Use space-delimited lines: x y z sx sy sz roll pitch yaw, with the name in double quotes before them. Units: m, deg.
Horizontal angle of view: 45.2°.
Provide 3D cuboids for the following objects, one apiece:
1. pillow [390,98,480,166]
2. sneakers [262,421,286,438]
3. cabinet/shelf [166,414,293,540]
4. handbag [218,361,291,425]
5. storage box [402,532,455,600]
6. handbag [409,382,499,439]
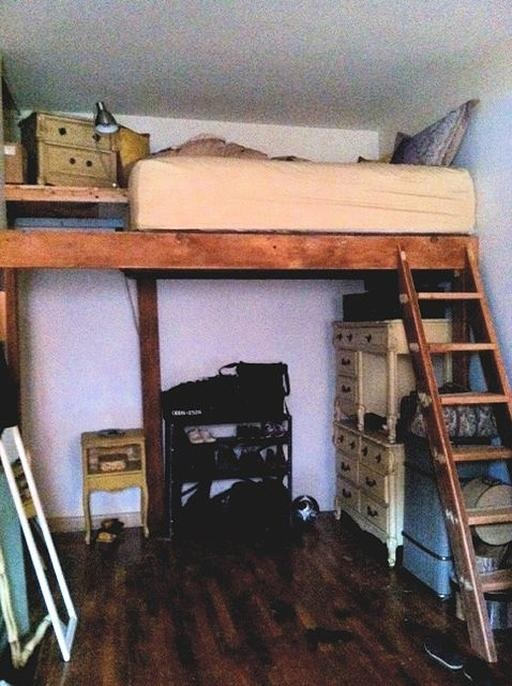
"pillow" 1.002 -1.123 3.443 0.308 0.337 0.591 -2 7 -6
"sneakers" 0.092 0.579 4.066 0.200 0.080 0.064 0 2 -5
"cabinet/shelf" -0.180 0.884 3.966 0.811 0.728 0.261 -1 -3 -10
"handbag" 0.034 0.337 4.124 0.417 0.393 0.123 3 -7 -13
"storage box" 0.869 1.093 3.143 0.197 0.226 0.347 -4 9 -17
"handbag" 1.020 0.402 3.187 0.502 0.329 0.249 0 -3 -6
